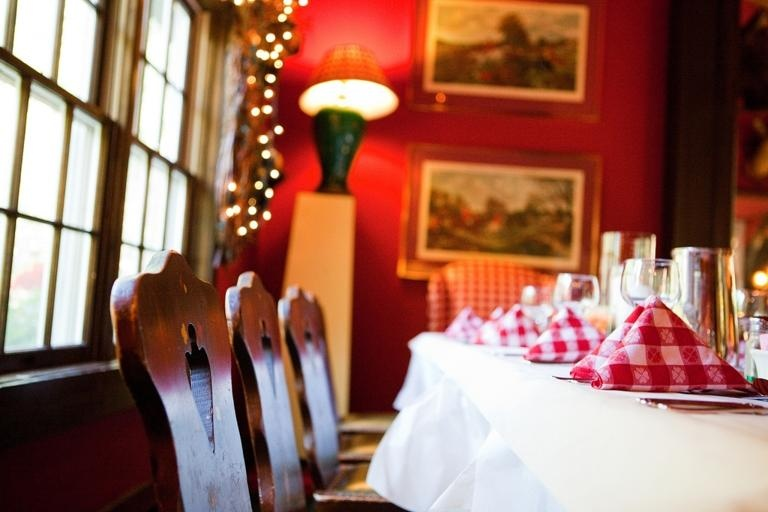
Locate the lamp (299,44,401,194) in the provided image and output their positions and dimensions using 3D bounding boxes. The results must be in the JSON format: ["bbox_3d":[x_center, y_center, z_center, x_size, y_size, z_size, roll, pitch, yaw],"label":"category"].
[{"bbox_3d":[-0.221,-0.783,3.818,0.596,0.818,0.589,0,-1,1],"label":"lamp"}]

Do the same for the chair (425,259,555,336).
[{"bbox_3d":[0.549,0.209,3.838,0.691,0.432,0.400,1,-8,-4],"label":"chair"}]
